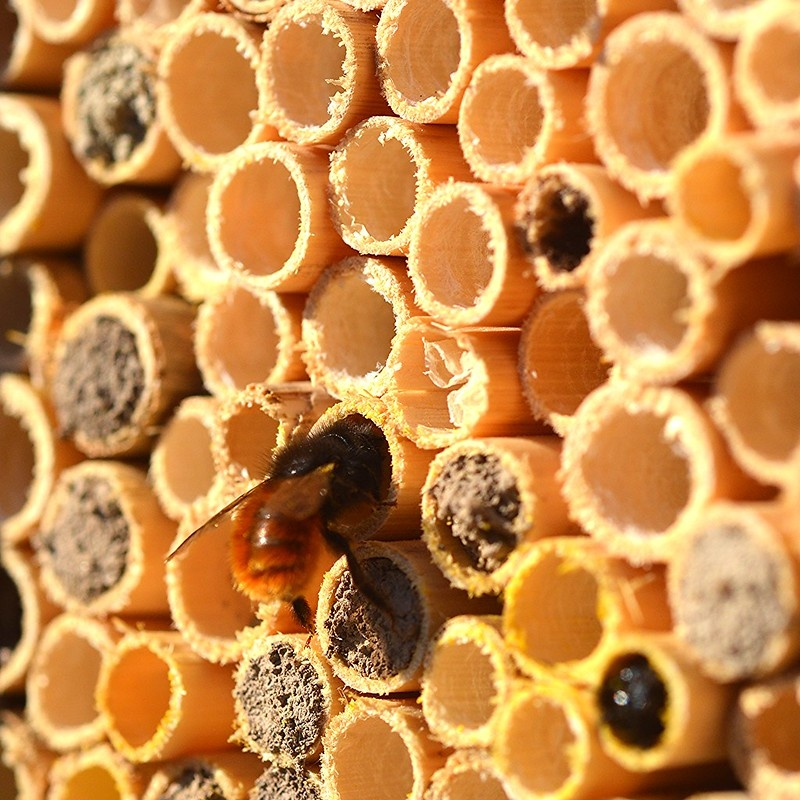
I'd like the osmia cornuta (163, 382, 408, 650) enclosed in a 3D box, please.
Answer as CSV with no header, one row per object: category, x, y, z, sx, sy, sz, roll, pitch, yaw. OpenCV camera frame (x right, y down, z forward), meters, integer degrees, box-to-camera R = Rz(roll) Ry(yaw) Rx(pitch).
osmia cornuta,-0.146,0.171,1.840,0.245,0.115,0.365,27,-64,-30
